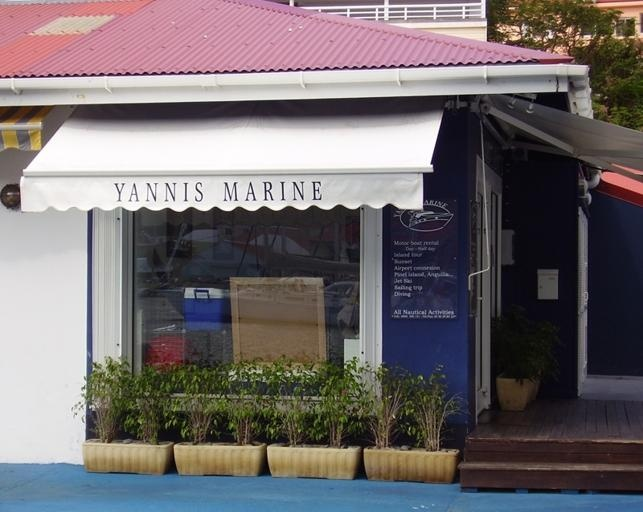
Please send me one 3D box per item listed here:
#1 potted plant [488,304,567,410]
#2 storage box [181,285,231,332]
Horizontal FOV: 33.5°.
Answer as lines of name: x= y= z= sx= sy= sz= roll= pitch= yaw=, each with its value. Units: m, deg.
potted plant: x=3.178 y=1.574 z=16.606 sx=0.842 sy=1.580 sz=1.551 roll=-1 pitch=0 yaw=24
storage box: x=-1.657 y=0.732 z=15.452 sx=0.841 sy=0.893 sz=0.513 roll=1 pitch=3 yaw=5
